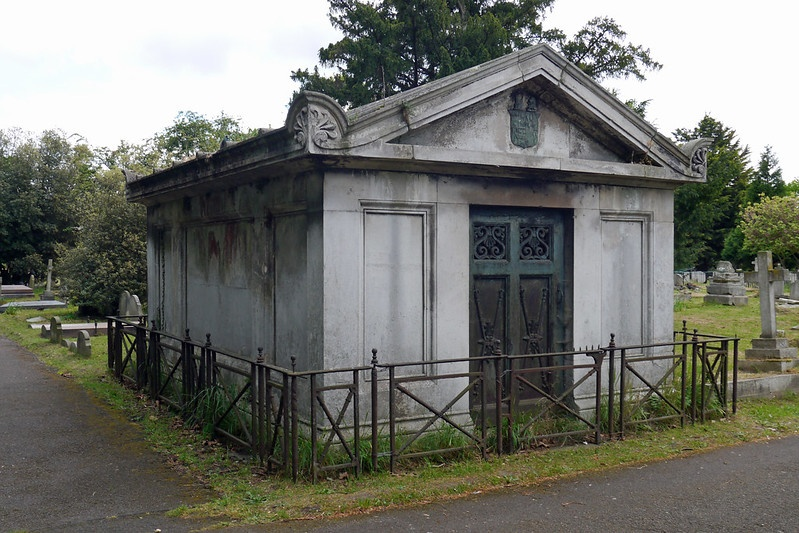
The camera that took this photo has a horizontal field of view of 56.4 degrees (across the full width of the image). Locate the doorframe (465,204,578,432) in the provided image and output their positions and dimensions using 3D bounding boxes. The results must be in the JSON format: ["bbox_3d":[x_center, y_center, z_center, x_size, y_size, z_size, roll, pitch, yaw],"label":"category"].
[{"bbox_3d":[2.291,0.817,15.014,2.155,3.953,1.531,0,1,-2],"label":"doorframe"}]

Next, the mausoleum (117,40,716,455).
[{"bbox_3d":[-0.041,-0.786,18.368,9.463,7.287,11.350,0,1,-26],"label":"mausoleum"}]
